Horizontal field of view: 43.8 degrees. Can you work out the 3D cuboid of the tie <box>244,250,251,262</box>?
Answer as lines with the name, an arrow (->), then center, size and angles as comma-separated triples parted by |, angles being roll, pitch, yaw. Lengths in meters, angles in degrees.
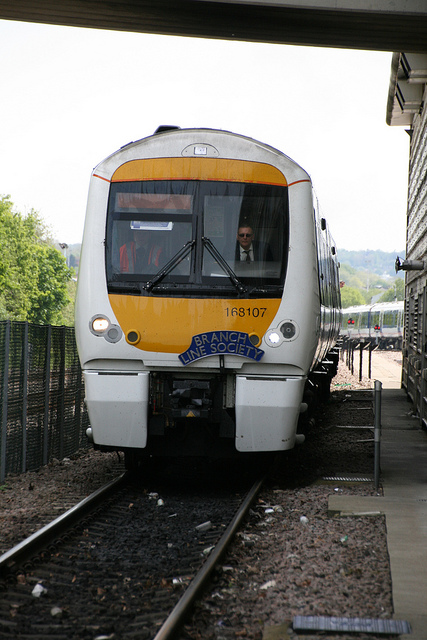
tie -> 0.327, -0.615, 5.183 | 0.043, 0.110, 0.032 | 1, -8, 1

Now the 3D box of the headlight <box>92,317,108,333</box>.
headlight -> -1.084, 0.060, 5.098 | 0.151, 0.139, 0.028 | -3, -8, 21

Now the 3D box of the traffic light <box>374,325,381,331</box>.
traffic light -> 18.810, 1.028, 61.260 | 0.605, 0.373, 0.840 | 2, -5, 8

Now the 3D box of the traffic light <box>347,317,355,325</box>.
traffic light -> 17.957, 0.277, 69.501 | 0.947, 0.866, 1.643 | 0, 0, 6
